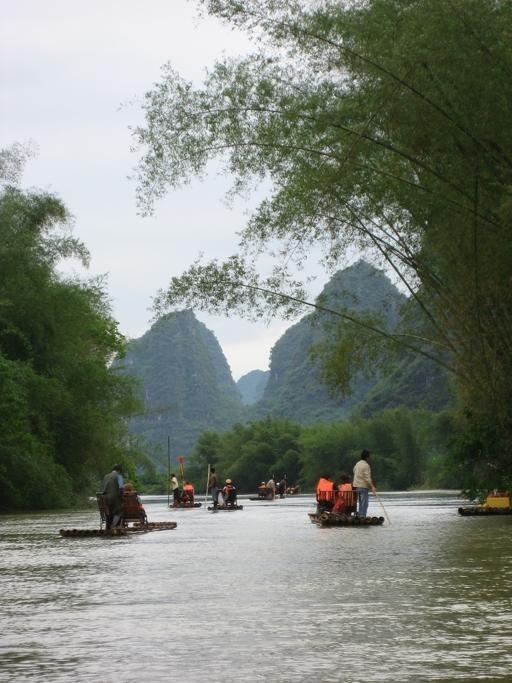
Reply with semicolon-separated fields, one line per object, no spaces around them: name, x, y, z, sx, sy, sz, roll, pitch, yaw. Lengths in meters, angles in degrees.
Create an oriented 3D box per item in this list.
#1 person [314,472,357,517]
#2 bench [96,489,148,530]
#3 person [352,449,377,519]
person;1.255;2.467;18.791;0.471;0.739;0.785;0;-21;1
bench;-1.968;2.446;17.366;0.421;0.537;0.815;0;-4;0
person;1.636;2.198;18.058;0.285;1.068;0.371;-1;9;-15
